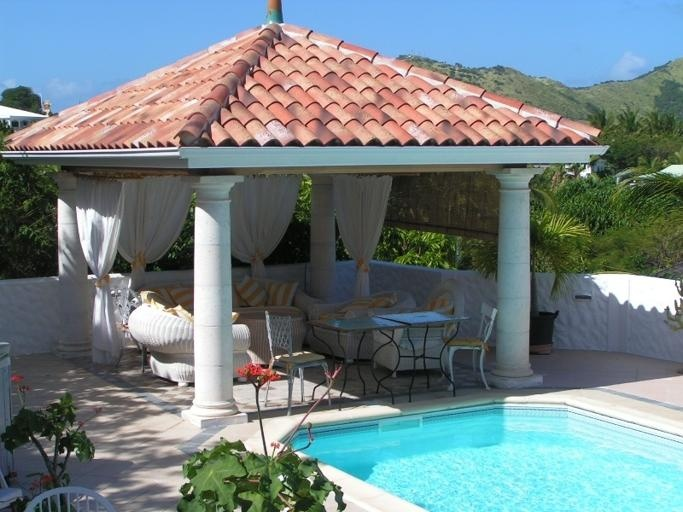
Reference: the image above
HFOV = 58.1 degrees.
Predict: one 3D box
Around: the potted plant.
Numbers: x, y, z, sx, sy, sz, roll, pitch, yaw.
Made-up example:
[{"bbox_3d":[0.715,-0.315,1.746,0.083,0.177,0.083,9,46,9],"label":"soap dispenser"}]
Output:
[{"bbox_3d":[3.541,0.202,11.135,1.976,3.037,1.133,0,-3,-16],"label":"potted plant"}]
